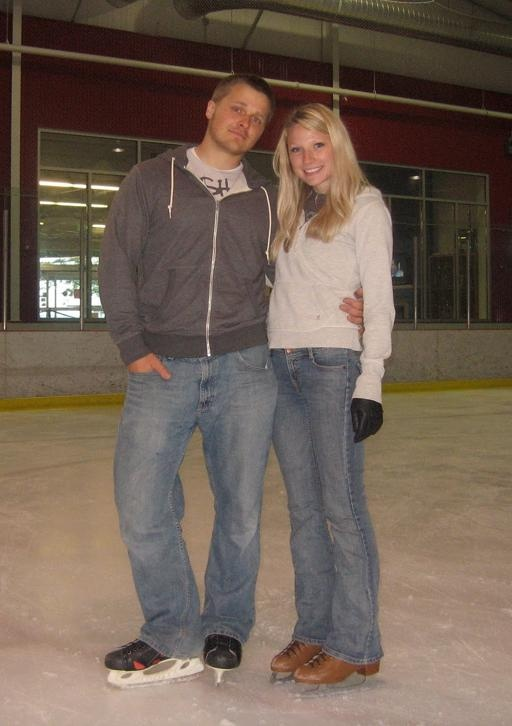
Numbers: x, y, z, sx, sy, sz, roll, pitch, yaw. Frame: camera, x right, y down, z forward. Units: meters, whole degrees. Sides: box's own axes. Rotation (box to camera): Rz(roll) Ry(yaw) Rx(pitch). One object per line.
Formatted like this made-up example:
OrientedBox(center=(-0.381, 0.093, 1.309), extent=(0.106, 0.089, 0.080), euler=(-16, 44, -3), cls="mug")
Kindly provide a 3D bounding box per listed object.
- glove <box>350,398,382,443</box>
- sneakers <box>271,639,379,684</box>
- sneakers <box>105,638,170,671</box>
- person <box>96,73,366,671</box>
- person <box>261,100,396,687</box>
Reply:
OrientedBox(center=(0.221, 0.112, 1.336), extent=(0.063, 0.083, 0.028), euler=(5, 1, -35), cls="glove")
OrientedBox(center=(0.134, 0.622, 1.407), extent=(0.139, 0.055, 0.100), euler=(5, -4, -11), cls="sneakers")
OrientedBox(center=(-0.249, 0.600, 1.385), extent=(0.140, 0.057, 0.049), euler=(6, 29, -29), cls="sneakers")
OrientedBox(center=(-0.072, -0.003, 1.476), extent=(0.502, 1.331, 0.460), euler=(2, -6, -10), cls="person")
OrientedBox(center=(0.149, 0.041, 1.450), extent=(0.292, 1.225, 0.204), euler=(0, -1, 27), cls="person")
